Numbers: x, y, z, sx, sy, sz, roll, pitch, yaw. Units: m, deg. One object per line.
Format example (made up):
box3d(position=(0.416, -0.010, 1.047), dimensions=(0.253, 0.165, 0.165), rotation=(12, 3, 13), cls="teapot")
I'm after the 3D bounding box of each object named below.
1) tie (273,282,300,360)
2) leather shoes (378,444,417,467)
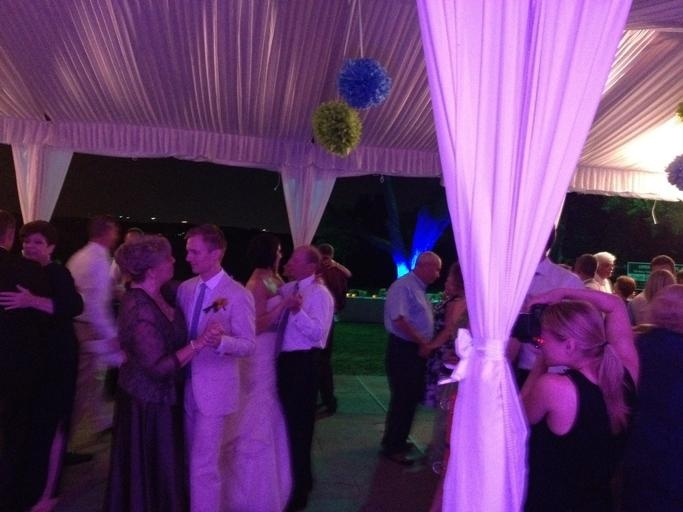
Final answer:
box3d(position=(-0.458, 0.551, 4.133), dimensions=(0.108, 0.839, 0.059), rotation=(15, 6, 35), cls="tie")
box3d(position=(0.522, 1.961, 5.042), dimensions=(0.434, 0.198, 0.143), rotation=(-2, 5, 8), cls="leather shoes")
